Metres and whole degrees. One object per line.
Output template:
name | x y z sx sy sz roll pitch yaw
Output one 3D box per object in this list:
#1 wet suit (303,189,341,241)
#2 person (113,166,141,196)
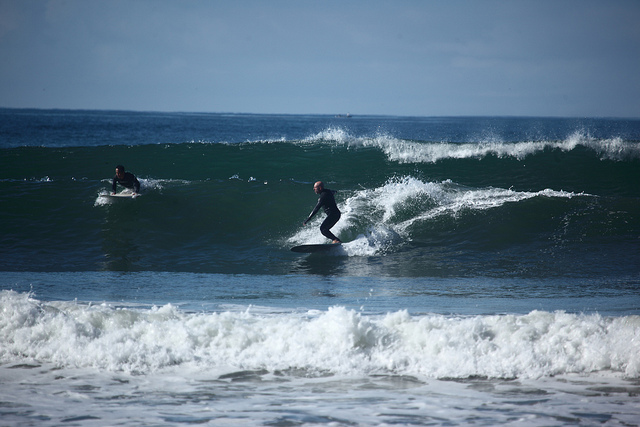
wet suit | 0.135 0.014 25.880 0.841 1.473 0.515 2 12 0
person | -6.142 -1.083 28.264 0.816 0.955 0.788 0 12 -12
